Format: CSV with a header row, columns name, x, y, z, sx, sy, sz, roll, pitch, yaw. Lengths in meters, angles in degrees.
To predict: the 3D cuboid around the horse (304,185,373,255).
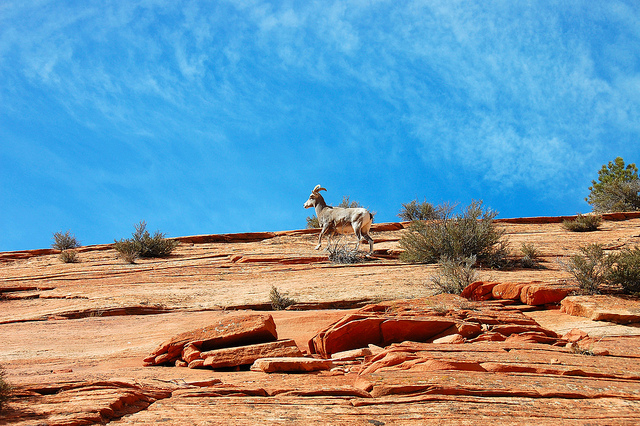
name,x,y,z,sx,sy,sz,roll,pitch,yaw
horse,0.610,0.186,26.746,2.808,2.259,0.768,3,-8,29
